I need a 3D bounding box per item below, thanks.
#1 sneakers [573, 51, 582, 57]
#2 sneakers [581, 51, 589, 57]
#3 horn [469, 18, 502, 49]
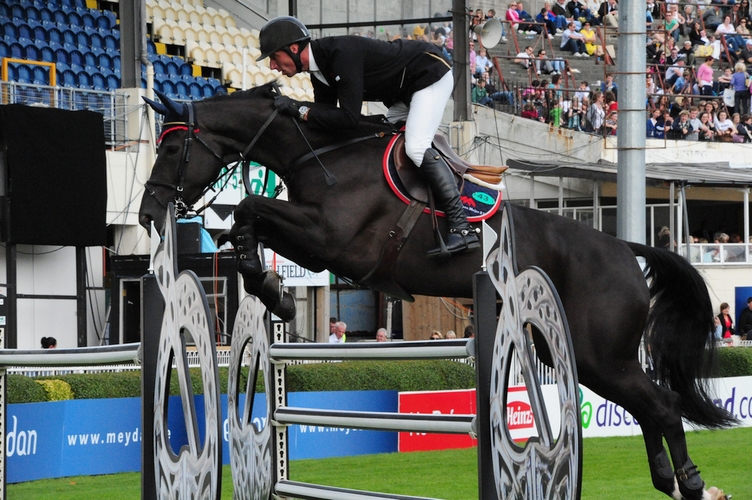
[{"bbox_3d":[4.444,-4.255,36.123,0.173,0.073,0.083,3,21,38],"label":"sneakers"},{"bbox_3d":[4.633,-4.259,36.238,0.079,0.074,0.175,-10,10,-43],"label":"sneakers"},{"bbox_3d":[1.753,-3.563,27.057,0.602,0.444,0.390,-9,-5,-46],"label":"horn"}]
